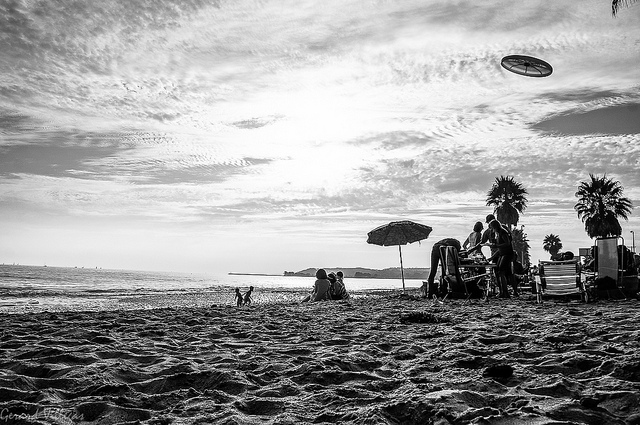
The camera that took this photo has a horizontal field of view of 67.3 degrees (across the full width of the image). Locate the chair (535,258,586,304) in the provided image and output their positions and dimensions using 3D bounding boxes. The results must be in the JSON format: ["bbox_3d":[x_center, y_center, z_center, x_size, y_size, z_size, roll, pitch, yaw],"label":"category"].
[{"bbox_3d":[5.149,1.773,11.653,1.110,0.877,1.502,-3,-19,5],"label":"chair"}]

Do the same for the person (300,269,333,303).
[{"bbox_3d":[0.136,2.369,15.560,0.617,1.016,1.486,-1,-9,2],"label":"person"}]

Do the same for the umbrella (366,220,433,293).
[{"bbox_3d":[3.292,0.895,18.185,2.535,2.862,2.123,0,-6,-11],"label":"umbrella"}]
